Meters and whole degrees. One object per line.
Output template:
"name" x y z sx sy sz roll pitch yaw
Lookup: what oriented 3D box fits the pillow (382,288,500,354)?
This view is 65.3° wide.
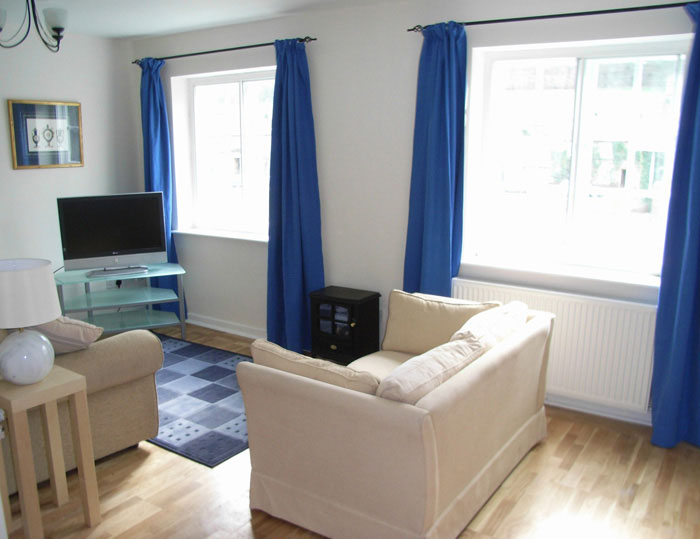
"pillow" 0.514 0.352 3.697 0.465 0.515 0.147 4 2 34

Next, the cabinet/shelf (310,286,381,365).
"cabinet/shelf" -0.047 0.390 4.752 0.680 0.777 0.527 7 12 36

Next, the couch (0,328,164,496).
"couch" -1.525 0.805 3.073 0.400 0.556 0.761 13 21 32

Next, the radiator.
"radiator" 1.570 0.583 3.872 1.177 0.796 0.097 9 -4 -14

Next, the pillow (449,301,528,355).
"pillow" 0.827 0.326 3.170 0.170 0.208 0.598 -20 0 45

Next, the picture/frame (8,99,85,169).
"picture/frame" -2.914 -1.299 5.203 0.043 0.659 0.659 10 14 36

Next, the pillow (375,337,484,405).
"pillow" 0.377 0.506 2.693 0.600 0.211 0.129 -19 -12 -39
